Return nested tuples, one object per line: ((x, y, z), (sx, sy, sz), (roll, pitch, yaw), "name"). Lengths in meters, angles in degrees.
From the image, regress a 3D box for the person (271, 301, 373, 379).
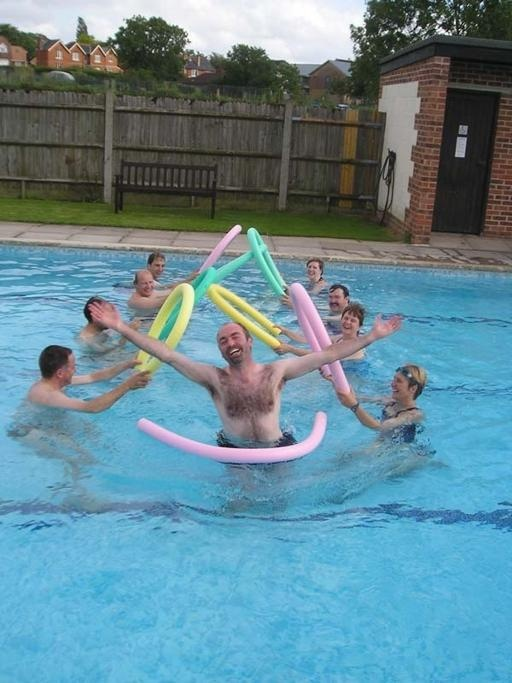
((0.772, -0.057, 6.256), (1.162, 0.566, 0.567), (13, -20, -31), "person")

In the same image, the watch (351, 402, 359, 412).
((0.772, 0.520, 4.872), (0.060, 0.073, 0.034), (22, 13, 40), "watch")

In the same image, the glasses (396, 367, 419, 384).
((1.233, 0.256, 4.968), (0.119, 0.144, 0.062), (16, 61, 38), "glasses")

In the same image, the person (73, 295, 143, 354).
((-1.484, -0.147, 6.129), (0.549, 0.759, 0.353), (-11, 33, 1), "person")

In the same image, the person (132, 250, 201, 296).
((-1.420, -0.863, 8.602), (0.767, 0.474, 0.953), (-22, 14, -40), "person")

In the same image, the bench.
((-2.191, -3.727, 14.986), (2.282, 1.282, 2.342), (2, 13, -8), "bench")
